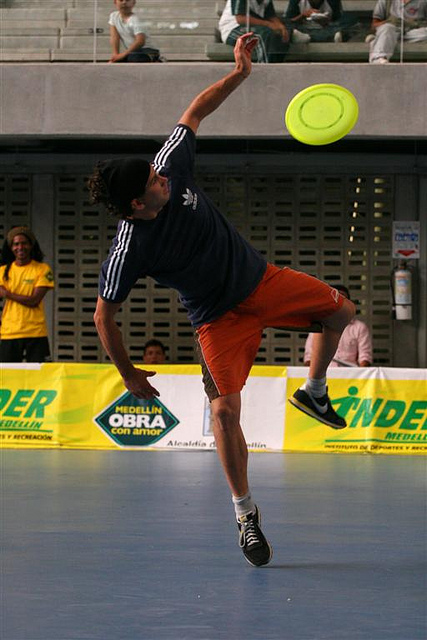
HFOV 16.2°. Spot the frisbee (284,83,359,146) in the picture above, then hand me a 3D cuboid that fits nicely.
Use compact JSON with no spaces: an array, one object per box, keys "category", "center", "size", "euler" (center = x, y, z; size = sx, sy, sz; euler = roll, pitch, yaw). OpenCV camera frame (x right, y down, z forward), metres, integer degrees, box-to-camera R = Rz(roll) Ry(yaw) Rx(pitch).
[{"category":"frisbee","center":[0.866,-1.647,12.061],"size":[0.665,0.476,0.443],"euler":[-6,10,-43]}]
